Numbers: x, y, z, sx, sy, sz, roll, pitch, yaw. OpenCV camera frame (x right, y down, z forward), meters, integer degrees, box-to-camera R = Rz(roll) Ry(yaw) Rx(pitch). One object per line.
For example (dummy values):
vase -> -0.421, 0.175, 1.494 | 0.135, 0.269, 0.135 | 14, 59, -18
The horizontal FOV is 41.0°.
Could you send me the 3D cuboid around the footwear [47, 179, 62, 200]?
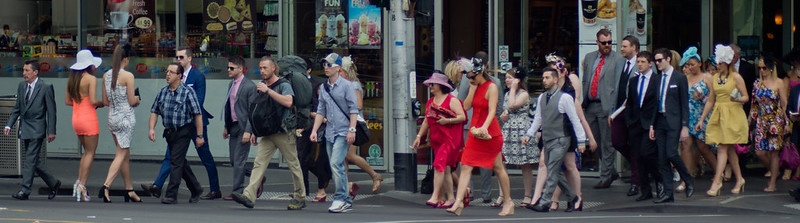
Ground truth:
footwear -> -16.243, 3.694, 50.276 | 0.480, 0.940, 0.505 | 18, -2, 34
